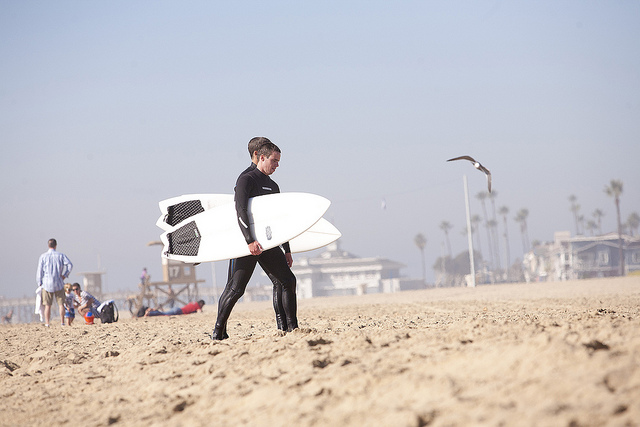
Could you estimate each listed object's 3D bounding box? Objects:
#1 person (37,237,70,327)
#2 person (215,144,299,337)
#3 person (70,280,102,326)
[{"bbox_3d":[-5.041,1.324,17.698,0.570,1.624,0.410,0,-1,-15],"label":"person"},{"bbox_3d":[-0.822,0.377,12.430,1.101,2.575,0.533,0,-1,-2],"label":"person"},{"bbox_3d":[-4.592,1.785,18.200,0.625,0.931,0.375,-6,15,-6],"label":"person"}]
